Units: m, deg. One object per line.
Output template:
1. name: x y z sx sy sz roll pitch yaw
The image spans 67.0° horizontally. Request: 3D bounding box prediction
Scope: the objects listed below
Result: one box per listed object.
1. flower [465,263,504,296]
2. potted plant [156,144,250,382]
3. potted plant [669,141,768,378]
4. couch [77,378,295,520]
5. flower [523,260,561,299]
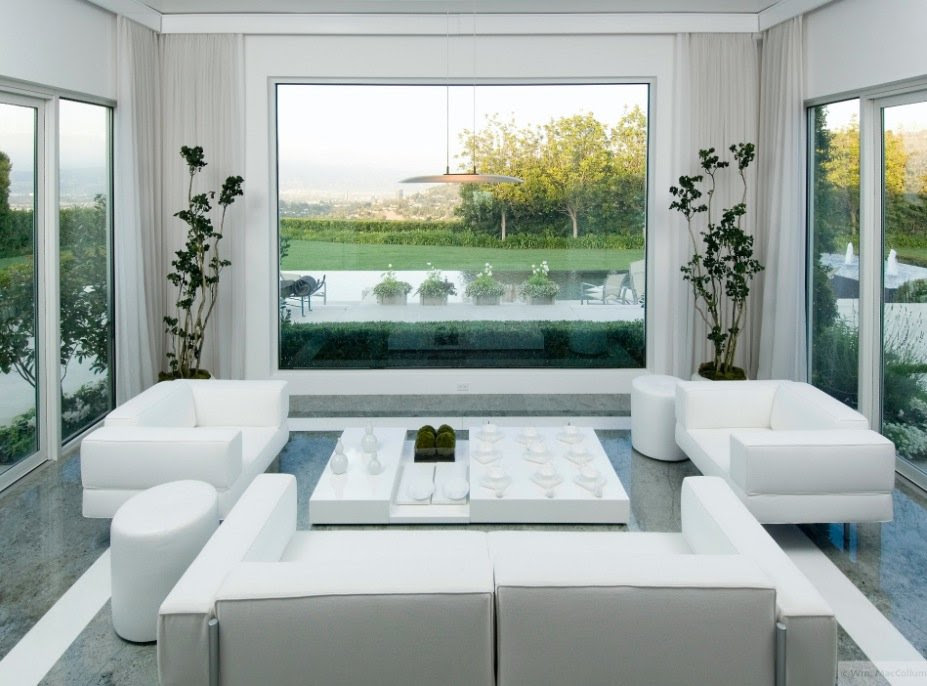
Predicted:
1. flower: 0.212 -0.632 7.127 0.285 0.280 0.354 1 14 0
2. potted plant: -2.569 -0.779 6.792 0.875 2.239 0.800 -5 12 -21
3. potted plant: 2.469 -0.808 6.829 0.841 2.242 0.931 4 12 24
4. couch: -2.150 0.895 5.127 0.908 0.584 1.677 -5 -7 -15
5. flower: 0.788 -0.616 7.139 0.326 0.397 0.212 -2 -1 3
